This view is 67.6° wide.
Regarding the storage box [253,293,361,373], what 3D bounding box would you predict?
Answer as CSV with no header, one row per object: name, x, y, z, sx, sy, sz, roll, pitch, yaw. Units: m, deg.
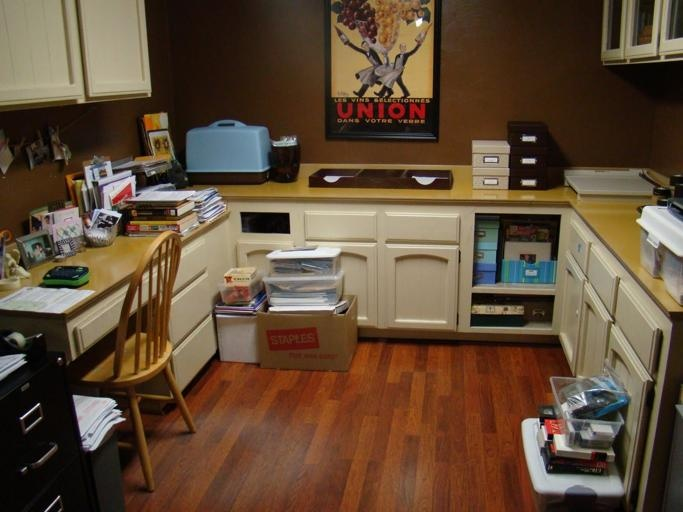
storage box,-0.213,0.451,3.188,0.447,0.315,0.474,1,18,3

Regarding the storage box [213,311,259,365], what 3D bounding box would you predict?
storage box,-0.686,0.524,3.469,0.259,0.410,0.386,0,20,0

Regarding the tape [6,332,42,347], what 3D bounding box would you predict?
tape,-1.143,0.304,1.806,0.073,0.033,0.073,7,12,-2

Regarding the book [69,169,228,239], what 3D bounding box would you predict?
book,-1.108,-0.277,2.938,0.456,0.195,0.476,0,24,7

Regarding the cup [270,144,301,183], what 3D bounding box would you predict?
cup,-0.396,-0.695,3.788,0.232,0.298,0.255,-1,23,0

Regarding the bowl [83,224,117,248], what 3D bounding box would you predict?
bowl,-1.295,-0.107,2.716,0.091,0.064,0.132,-5,14,-10

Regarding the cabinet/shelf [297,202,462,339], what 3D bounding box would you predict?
cabinet/shelf,0.235,0.062,3.289,0.724,0.692,0.282,1,13,8

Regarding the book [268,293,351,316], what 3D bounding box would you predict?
book,-0.198,0.324,3.223,0.528,0.073,0.267,-5,21,-7

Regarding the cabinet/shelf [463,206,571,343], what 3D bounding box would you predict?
cabinet/shelf,1.146,0.096,3.301,0.680,1.132,0.534,2,6,8

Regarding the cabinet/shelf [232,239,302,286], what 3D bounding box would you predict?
cabinet/shelf,-0.533,-0.022,3.455,0.395,0.428,0.220,0,8,1

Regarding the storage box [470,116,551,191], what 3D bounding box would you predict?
storage box,1.145,-0.650,3.518,0.508,0.494,0.410,0,15,8
